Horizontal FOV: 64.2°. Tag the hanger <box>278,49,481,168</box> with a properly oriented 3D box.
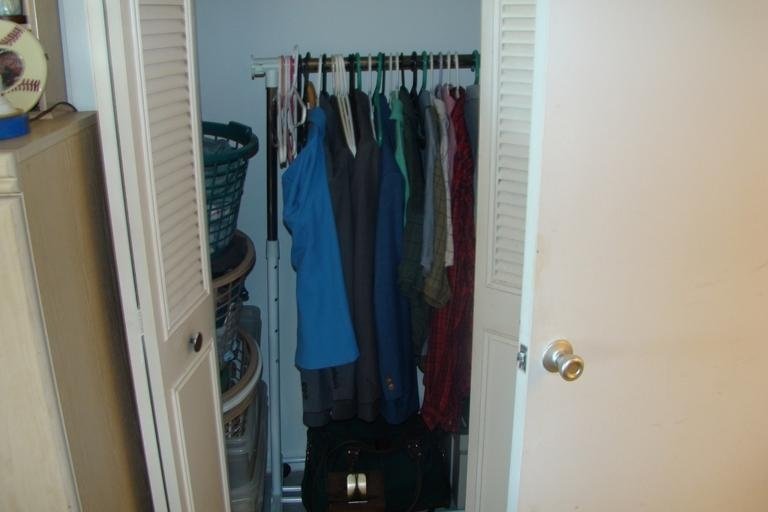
[{"bbox_3d":[-0.047,-0.513,2.090,0.663,0.355,0.221,-5,14,-6],"label":"hanger"}]
